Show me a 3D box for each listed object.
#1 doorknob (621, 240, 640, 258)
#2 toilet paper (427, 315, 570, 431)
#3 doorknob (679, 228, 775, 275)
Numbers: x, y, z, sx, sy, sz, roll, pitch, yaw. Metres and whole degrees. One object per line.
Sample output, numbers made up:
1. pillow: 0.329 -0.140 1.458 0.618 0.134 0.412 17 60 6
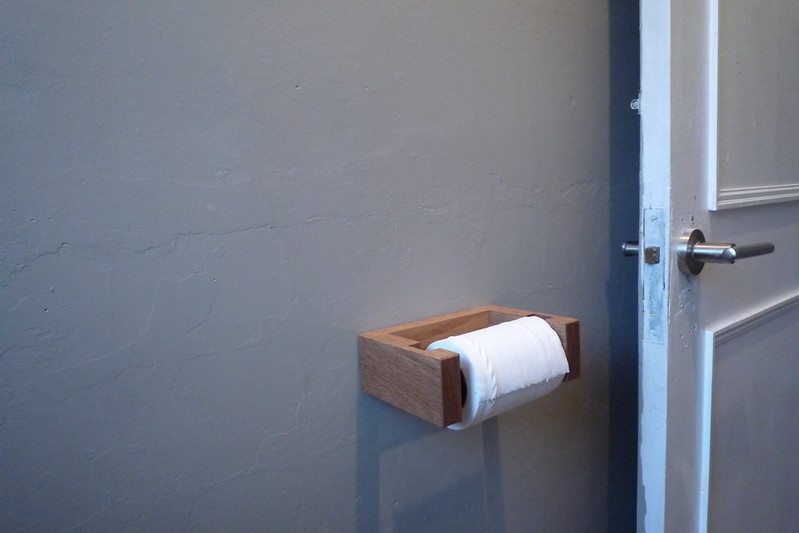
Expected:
1. doorknob: 0.406 -0.030 1.050 0.044 0.023 0.017 -10 -7 -45
2. toilet paper: 0.162 0.167 0.975 0.195 0.141 0.144 -8 8 -32
3. doorknob: 0.520 -0.031 0.968 0.079 0.075 0.133 -8 9 -38
